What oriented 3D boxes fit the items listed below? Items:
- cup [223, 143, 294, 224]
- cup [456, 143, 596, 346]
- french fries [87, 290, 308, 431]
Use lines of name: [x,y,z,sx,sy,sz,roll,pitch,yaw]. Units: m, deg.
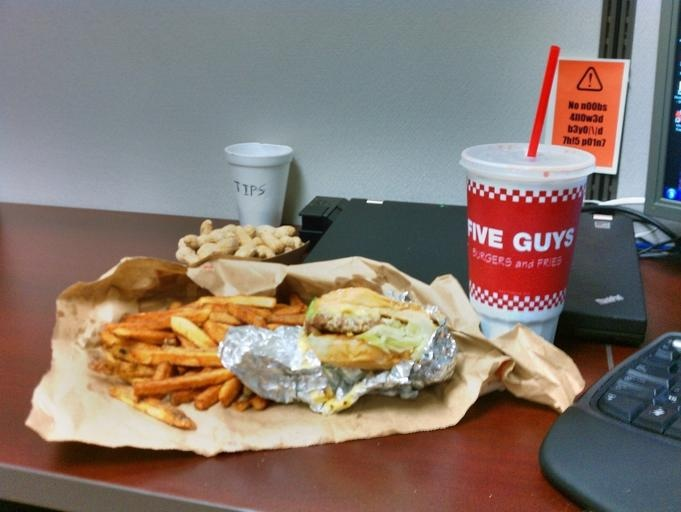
cup: [-0.184,-0.159,1.363,0.147,0.182,0.154,3,25,-1]
cup: [0.254,-0.020,0.878,0.175,0.264,0.184,-3,21,1]
french fries: [-0.206,0.134,0.821,0.202,0.068,0.176,6,21,5]
